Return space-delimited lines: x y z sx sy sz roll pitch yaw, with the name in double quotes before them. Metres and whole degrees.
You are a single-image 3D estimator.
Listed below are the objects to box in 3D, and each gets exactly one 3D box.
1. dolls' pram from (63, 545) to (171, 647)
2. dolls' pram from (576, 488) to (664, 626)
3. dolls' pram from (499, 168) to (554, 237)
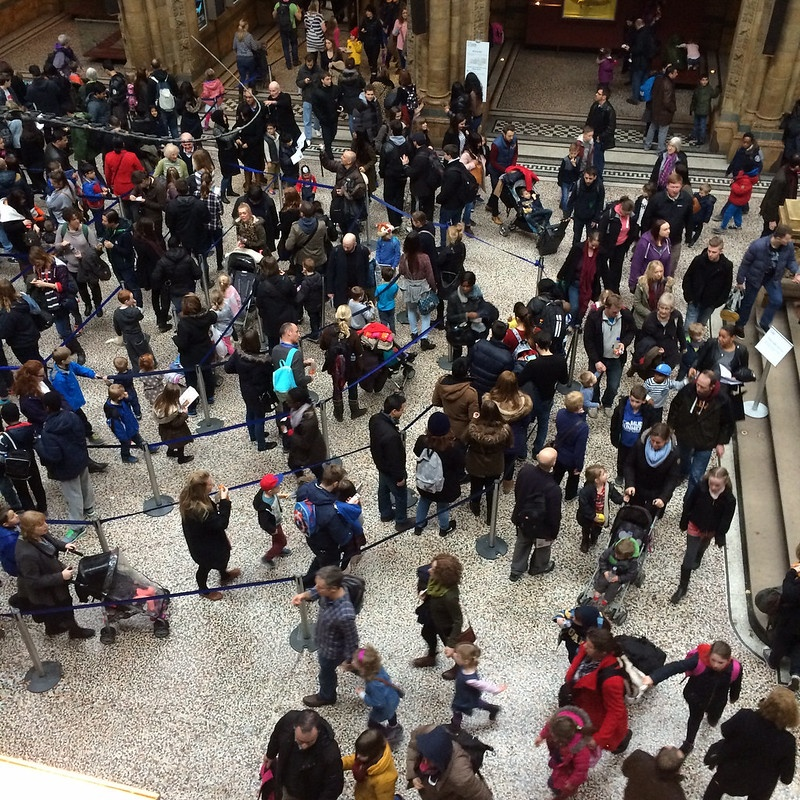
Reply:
"dolls' pram" -2.378 1.656 6.480 0.848 0.643 0.538 3 19 -10
"dolls' pram" 1.915 1.446 6.535 0.529 0.649 1.328 25 56 17
"dolls' pram" 2.101 -3.190 12.231 1.036 0.995 0.833 13 41 24
